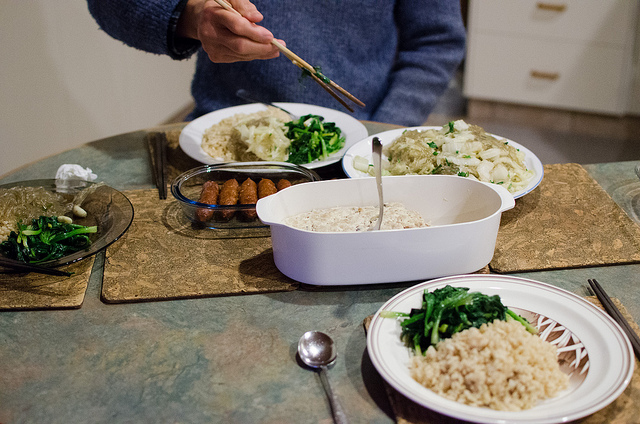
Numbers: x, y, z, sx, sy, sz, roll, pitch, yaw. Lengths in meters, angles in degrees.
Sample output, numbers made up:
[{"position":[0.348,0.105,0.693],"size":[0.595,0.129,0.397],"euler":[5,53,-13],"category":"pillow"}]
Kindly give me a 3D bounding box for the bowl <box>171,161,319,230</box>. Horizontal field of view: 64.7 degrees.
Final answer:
[{"position":[-0.238,-0.068,1.537],"size":[0.340,0.078,0.244],"euler":[0,29,2],"category":"bowl"}]

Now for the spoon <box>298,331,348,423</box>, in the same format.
[{"position":[0.001,0.361,1.124],"size":[0.089,0.048,0.220],"euler":[-5,52,-4],"category":"spoon"}]

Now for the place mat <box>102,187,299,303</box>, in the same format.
[{"position":[-0.364,0.123,1.448],"size":[0.532,0.018,0.477],"euler":[-4,23,-29],"category":"place mat"}]

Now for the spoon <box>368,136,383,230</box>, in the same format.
[{"position":[0.145,-0.077,1.268],"size":[0.043,0.226,0.031],"euler":[-12,28,-8],"category":"spoon"}]
